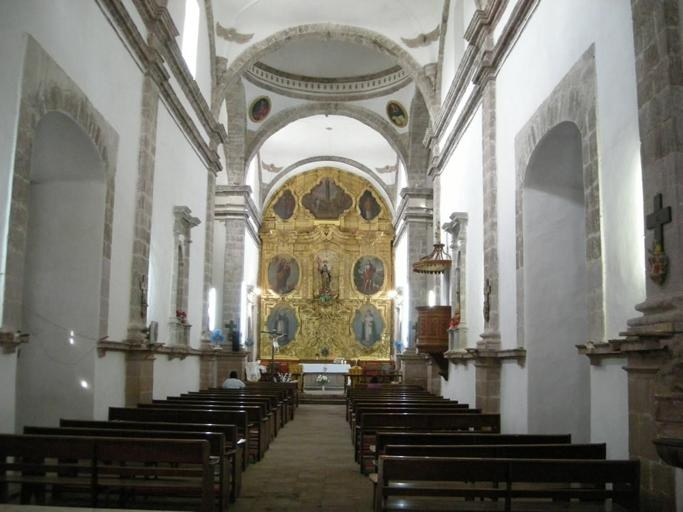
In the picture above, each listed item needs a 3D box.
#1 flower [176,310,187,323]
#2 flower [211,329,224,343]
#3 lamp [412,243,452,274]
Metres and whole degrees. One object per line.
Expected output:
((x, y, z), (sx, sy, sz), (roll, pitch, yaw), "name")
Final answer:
((-3.652, 1.399, 13.724), (0.252, 0.199, 0.268), (-3, -14, 20), "flower")
((-3.520, 2.356, 17.091), (0.381, 0.419, 0.183), (-1, 9, -11), "flower")
((2.343, 0.169, 15.345), (0.831, 0.413, 0.868), (3, -5, -7), "lamp")
